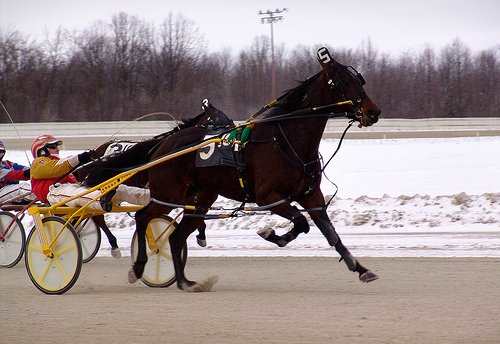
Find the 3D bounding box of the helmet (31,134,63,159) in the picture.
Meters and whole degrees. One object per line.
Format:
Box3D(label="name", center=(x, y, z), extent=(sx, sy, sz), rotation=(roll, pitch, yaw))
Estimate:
Box3D(label="helmet", center=(-4.231, -0.540, 19.536), extent=(0.752, 0.439, 0.518), rotation=(-7, -7, 33))
